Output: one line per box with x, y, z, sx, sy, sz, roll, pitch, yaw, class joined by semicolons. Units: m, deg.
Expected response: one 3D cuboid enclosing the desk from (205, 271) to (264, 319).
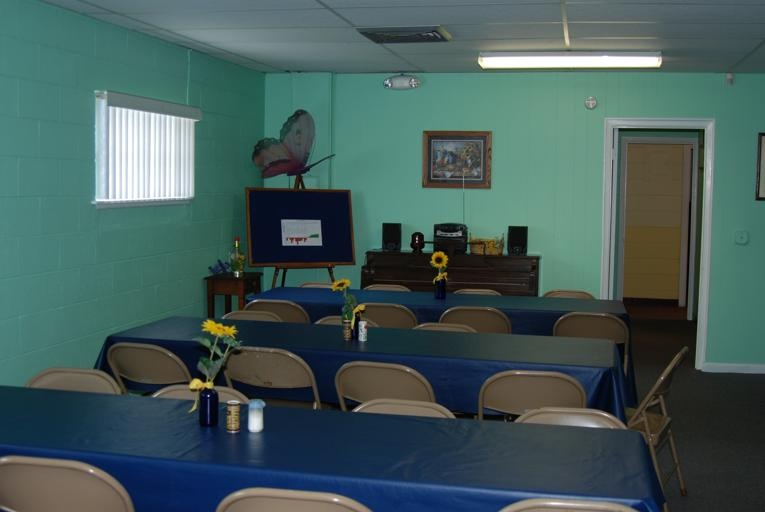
-1.753;0.559;6.770;0.565;0.616;0.535;2;4;23;desk

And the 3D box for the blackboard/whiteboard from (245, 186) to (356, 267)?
-1.019;-0.330;6.930;1.028;0.705;0.100;3;-11;-22;blackboard/whiteboard

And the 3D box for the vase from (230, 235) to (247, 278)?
-1.732;0.009;6.760;0.236;0.461;0.227;-1;9;-9;vase

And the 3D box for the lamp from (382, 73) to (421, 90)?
0.238;-2.203;7.254;0.428;0.202;0.153;-3;0;10;lamp

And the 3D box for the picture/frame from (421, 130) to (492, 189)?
1.010;-1.267;7.427;0.811;0.637;0.067;1;7;8;picture/frame
